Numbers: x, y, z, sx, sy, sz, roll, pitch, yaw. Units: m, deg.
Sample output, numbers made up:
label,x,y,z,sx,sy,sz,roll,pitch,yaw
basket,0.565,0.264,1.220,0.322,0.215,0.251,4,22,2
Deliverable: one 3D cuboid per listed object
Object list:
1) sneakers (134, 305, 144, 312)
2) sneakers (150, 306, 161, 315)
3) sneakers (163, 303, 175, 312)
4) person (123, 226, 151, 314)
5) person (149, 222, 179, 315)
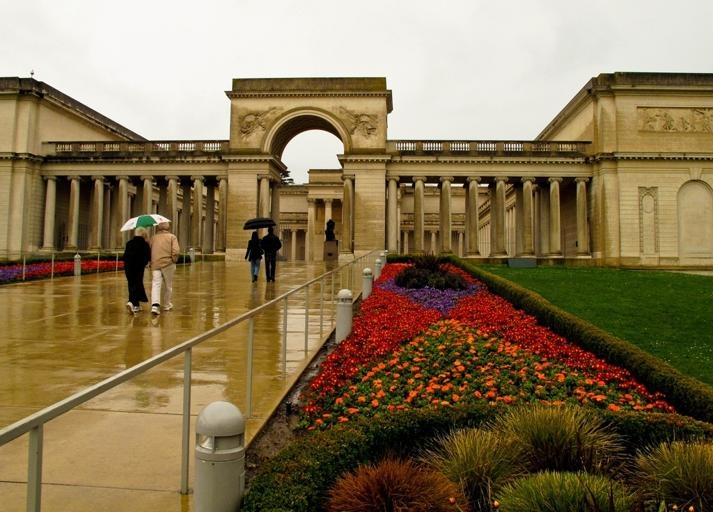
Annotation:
label,x,y,z,sx,sy,sz,roll,pitch,yaw
sneakers,-4.824,1.175,15.069,0.181,0.135,0.181,0,2,-2
sneakers,-4.306,1.152,14.559,0.147,0.212,0.272,0,-1,-11
sneakers,-4.220,1.154,15.234,0.135,0.168,0.402,0,-8,-9
person,-4.802,0.312,14.889,0.539,1.836,0.435,1,-2,-25
person,-4.257,0.243,15.028,0.577,2.046,1.073,0,-2,-17
